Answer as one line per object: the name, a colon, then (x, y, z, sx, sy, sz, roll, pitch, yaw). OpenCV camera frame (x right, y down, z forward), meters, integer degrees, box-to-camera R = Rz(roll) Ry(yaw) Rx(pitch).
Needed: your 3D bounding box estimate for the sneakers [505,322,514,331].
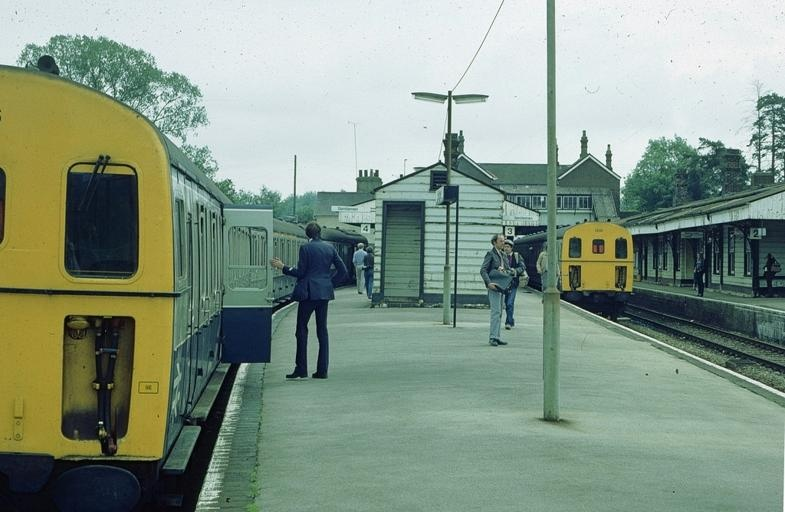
sneakers: (2.568, 1.555, 21.070, 0.118, 0.143, 0.336, -1, -5, 9)

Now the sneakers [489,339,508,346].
sneakers: (1.988, 1.605, 18.025, 0.386, 0.157, 0.123, -3, 5, -38)

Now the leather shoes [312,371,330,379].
leather shoes: (-1.085, 1.798, 14.459, 0.238, 0.167, 0.089, 5, 2, 28)

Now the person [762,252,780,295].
person: (13.952, 0.661, 35.310, 0.513, 1.651, 1.578, -2, 0, 26)

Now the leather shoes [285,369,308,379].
leather shoes: (-1.465, 1.785, 14.479, 0.367, 0.172, 0.128, 2, -1, 6)

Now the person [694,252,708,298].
person: (12.043, 0.742, 37.407, 0.499, 1.748, 0.623, 3, -43, 14)

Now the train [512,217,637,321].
train: (6.750, 0.269, 34.487, 2.379, 3.615, 14.636, 0, 0, -3)

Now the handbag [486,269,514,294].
handbag: (2.046, 0.453, 17.827, 0.686, 0.411, 0.294, -1, 0, -40)
